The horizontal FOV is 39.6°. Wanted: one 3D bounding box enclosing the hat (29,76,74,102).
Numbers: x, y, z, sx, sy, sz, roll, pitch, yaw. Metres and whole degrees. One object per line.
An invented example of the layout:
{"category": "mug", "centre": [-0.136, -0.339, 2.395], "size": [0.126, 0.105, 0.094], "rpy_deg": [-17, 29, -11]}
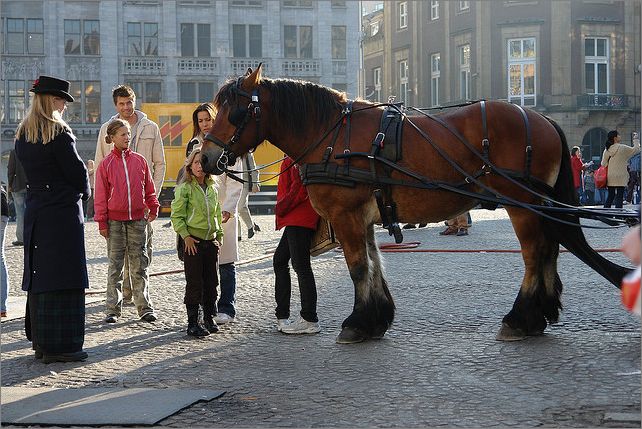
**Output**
{"category": "hat", "centre": [-3.229, -1.545, 10.728], "size": [0.578, 0.142, 0.385], "rpy_deg": [9, 13, -5]}

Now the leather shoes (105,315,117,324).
{"category": "leather shoes", "centre": [-2.810, 1.402, 11.930], "size": [0.164, 0.102, 0.153], "rpy_deg": [-4, 11, -9]}

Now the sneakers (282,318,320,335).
{"category": "sneakers", "centre": [-0.253, 1.441, 11.331], "size": [0.586, 0.166, 0.167], "rpy_deg": [2, 0, -2]}

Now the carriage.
{"category": "carriage", "centre": [1.511, -0.118, 11.108], "size": [6.863, 2.951, 1.758], "rpy_deg": [3, 10, 34]}

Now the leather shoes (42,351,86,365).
{"category": "leather shoes", "centre": [-3.002, 1.693, 10.571], "size": [0.555, 0.144, 0.157], "rpy_deg": [-3, 1, -4]}

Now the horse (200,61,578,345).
{"category": "horse", "centre": [1.383, -0.064, 11.201], "size": [6.888, 3.273, 1.803], "rpy_deg": [4, 11, 42]}
